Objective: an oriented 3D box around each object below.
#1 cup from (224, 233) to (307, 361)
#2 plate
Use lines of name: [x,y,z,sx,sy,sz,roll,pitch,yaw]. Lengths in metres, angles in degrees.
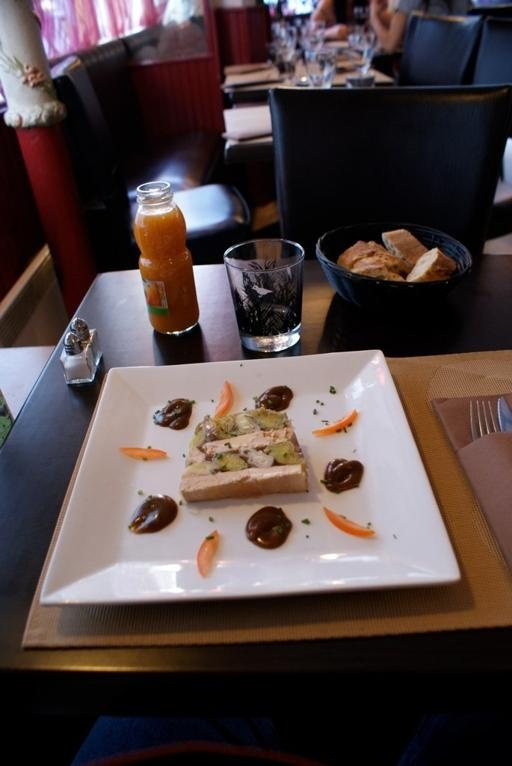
cup: [0.042,-0.147,0.933,0.156,0.191,0.170,-4,39,3]
plate: [-0.013,0.099,0.514,0.273,0.034,0.286,-1,42,3]
